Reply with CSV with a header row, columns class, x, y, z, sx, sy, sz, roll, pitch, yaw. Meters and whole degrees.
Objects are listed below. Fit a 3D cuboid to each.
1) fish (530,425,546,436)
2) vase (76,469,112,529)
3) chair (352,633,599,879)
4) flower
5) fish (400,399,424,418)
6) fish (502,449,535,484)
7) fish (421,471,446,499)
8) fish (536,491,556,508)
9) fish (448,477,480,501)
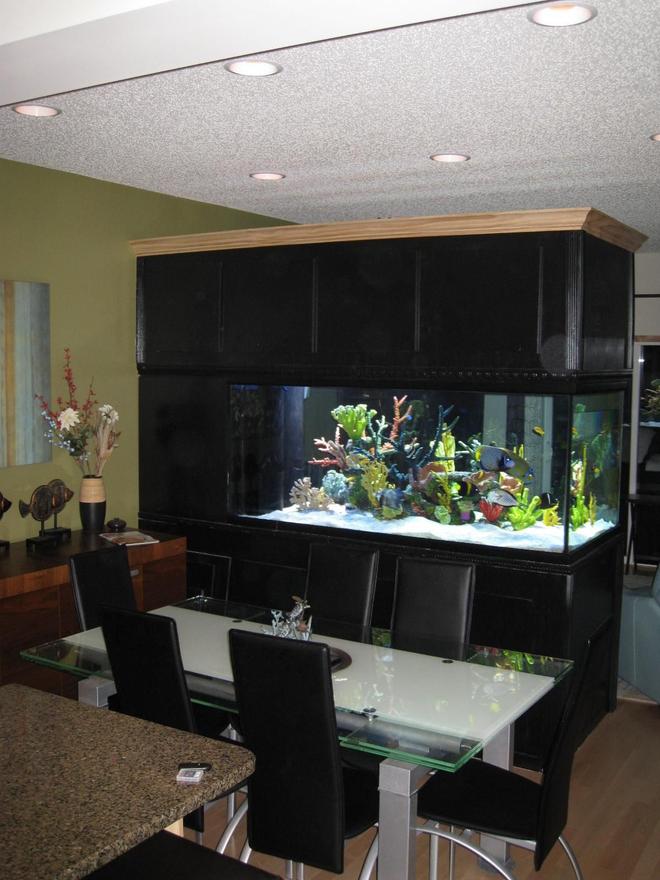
class,x,y,z,sx,sy,sz,roll,pitch,yaw
fish,0.955,-0.042,3.300,0.072,0.040,0.024,10,-14,27
vase,-1.354,0.372,4.088,0.133,0.353,0.192,-3,7,-21
chair,0.477,0.814,2.009,0.438,0.549,0.386,3,7,33
flower,-1.380,-0.152,4.145,0.345,0.737,0.607,0,6,11
fish,0.431,-0.160,3.651,0.074,0.087,0.036,1,10,28
fish,0.885,0.127,3.389,0.147,0.147,0.011,4,8,37
fish,0.521,0.227,3.641,0.132,0.139,0.015,3,8,33
fish,0.997,0.274,3.333,0.065,0.065,0.119,-6,7,-43
fish,0.658,0.235,3.556,0.136,0.104,0.010,3,7,29
